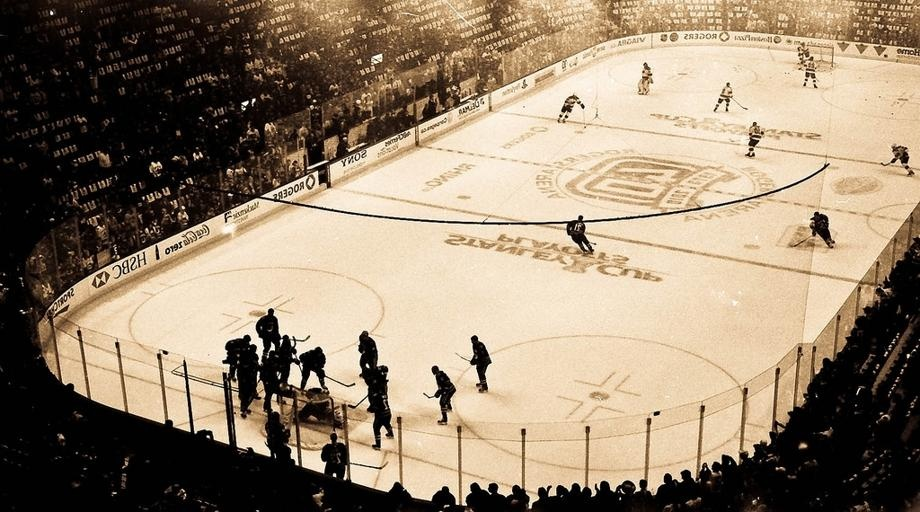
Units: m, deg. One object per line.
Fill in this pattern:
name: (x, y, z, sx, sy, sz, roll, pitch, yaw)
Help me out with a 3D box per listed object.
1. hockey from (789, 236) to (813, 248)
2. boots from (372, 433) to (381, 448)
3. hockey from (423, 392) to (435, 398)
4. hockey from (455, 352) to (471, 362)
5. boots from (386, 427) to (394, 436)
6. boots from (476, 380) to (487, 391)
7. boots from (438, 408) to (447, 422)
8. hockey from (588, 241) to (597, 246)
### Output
hockey: (14.849, -0.632, 49.533, 1.277, 0.474, 0.402, 1, 0, -39)
boots: (-2.915, 6.466, 40.256, 0.299, 0.448, 0.306, 2, 0, -12)
hockey: (-1.172, 5.086, 42.109, 0.574, 0.222, 0.180, 2, 0, 40)
hockey: (0.110, 3.838, 43.711, 0.237, 0.192, 0.765, -32, 40, -22)
boots: (-2.504, 6.177, 40.433, 0.219, 0.274, 0.628, 2, 0, 1)
boots: (0.766, 4.742, 42.321, 0.279, 0.452, 0.492, -10, 30, -19)
boots: (-0.632, 5.682, 41.024, 0.318, 0.459, 0.582, 2, 0, 2)
hockey: (5.810, -0.556, 49.827, 0.352, 0.158, 0.334, 2, 0, -6)
